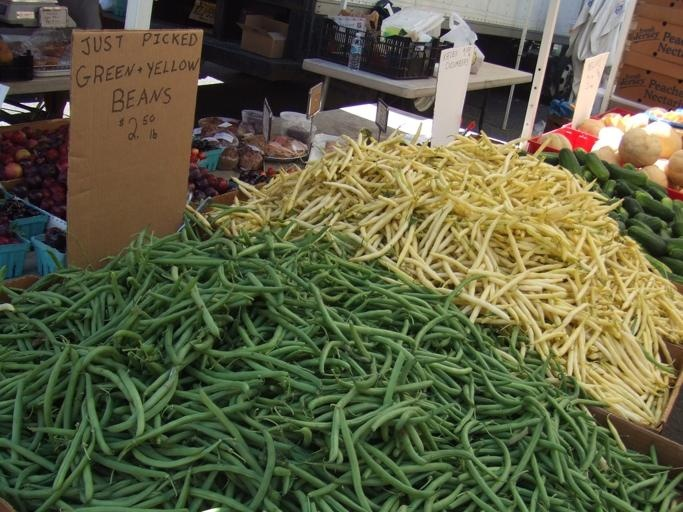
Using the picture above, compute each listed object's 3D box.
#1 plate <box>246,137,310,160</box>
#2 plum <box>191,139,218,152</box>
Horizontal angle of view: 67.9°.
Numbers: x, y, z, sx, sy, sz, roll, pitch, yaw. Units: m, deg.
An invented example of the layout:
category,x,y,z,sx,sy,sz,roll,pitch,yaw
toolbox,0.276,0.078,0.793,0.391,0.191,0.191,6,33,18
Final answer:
category,x,y,z,sx,sy,sz,roll,pitch,yaw
plate,-0.425,-0.774,3.724,0.308,0.075,0.290,-13,28,-36
plum,-0.955,-0.754,3.523,0.105,0.041,0.138,7,14,39
